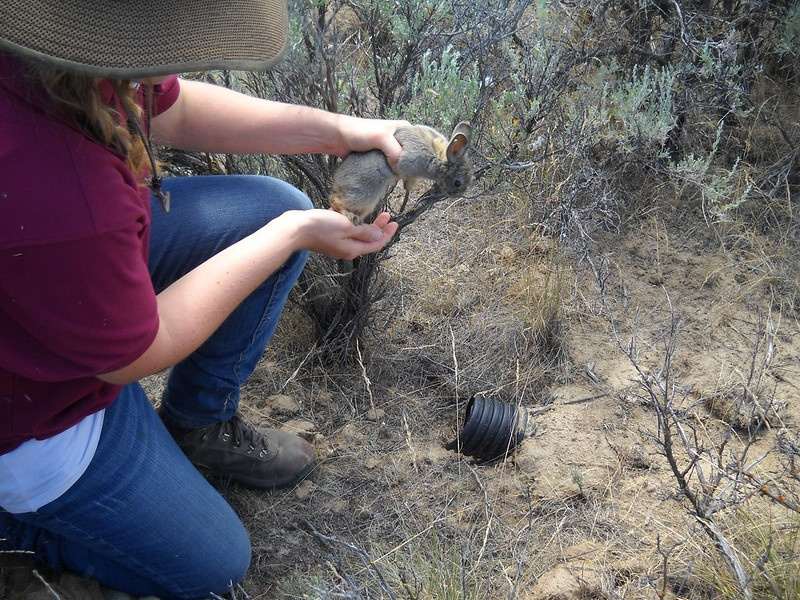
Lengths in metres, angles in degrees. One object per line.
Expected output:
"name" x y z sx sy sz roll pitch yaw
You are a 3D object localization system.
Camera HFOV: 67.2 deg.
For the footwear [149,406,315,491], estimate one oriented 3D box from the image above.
"footwear" -0.813 0.773 3.127 0.796 0.404 0.357 10 49 -7
